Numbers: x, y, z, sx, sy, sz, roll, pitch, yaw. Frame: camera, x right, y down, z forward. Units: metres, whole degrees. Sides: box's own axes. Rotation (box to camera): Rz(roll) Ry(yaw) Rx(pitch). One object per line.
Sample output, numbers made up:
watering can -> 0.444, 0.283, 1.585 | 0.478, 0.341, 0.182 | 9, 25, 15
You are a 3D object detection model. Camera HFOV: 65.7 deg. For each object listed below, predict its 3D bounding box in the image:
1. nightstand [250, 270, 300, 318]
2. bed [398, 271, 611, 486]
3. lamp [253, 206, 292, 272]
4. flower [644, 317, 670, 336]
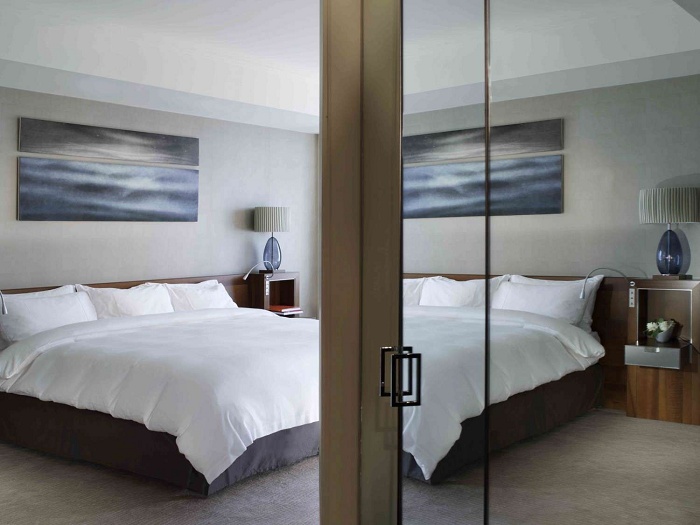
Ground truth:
nightstand -> -0.856, 0.370, 6.337 | 0.497, 0.535, 0.274 | -6, 9, -42
bed -> 0.346, 0.232, 1.301 | 0.442, 0.228, 0.438 | -2, -2, 44
lamp -> -0.902, -0.269, 6.290 | 0.406, 0.748, 0.457 | -3, 7, -20
flower -> 0.617, 0.130, 1.089 | 0.034, 0.016, 0.034 | -11, -2, 42
